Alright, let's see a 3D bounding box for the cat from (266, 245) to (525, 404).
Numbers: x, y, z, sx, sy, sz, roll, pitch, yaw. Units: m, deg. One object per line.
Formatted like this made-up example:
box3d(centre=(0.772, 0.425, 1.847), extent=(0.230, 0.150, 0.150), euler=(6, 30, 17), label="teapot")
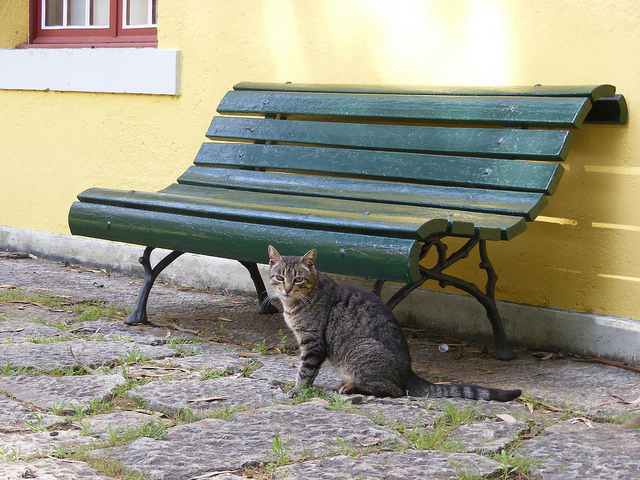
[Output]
box3d(centre=(0.396, 0.510, 3.377), extent=(1.464, 0.536, 0.405), euler=(15, 6, 33), label="cat")
